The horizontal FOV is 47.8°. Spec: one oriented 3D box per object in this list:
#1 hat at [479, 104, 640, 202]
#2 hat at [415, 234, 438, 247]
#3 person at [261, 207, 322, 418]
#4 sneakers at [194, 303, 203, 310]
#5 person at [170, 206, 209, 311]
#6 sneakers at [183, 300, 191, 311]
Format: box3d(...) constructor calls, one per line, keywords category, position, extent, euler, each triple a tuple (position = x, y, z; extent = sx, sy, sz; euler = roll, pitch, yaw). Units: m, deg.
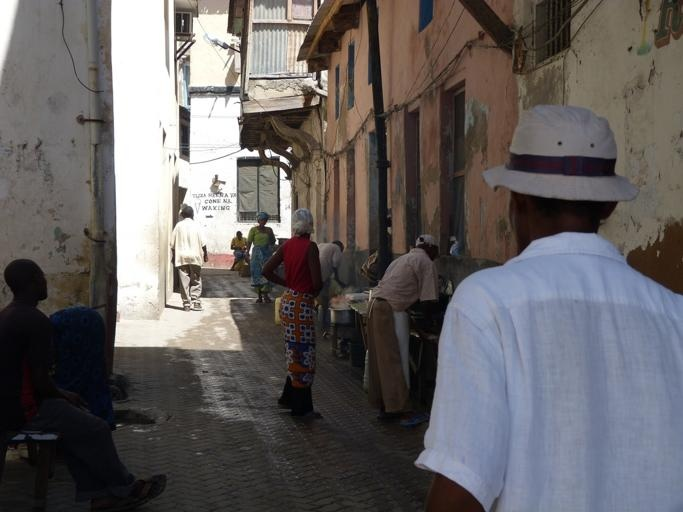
box3d(category="hat", position=(0.733, -0.357, 2.559), extent=(0.504, 0.327, 0.590), euler=(1, 8, 11))
box3d(category="hat", position=(0.865, -0.155, 7.666), extent=(0.183, 0.106, 0.130), euler=(-2, 4, -41))
box3d(category="person", position=(-0.439, 0.568, 7.532), extent=(0.661, 1.716, 0.649), euler=(-11, 4, -4))
box3d(category="sneakers", position=(-2.832, 1.014, 15.357), extent=(0.153, 0.085, 0.115), euler=(3, -1, -2))
box3d(category="person", position=(-2.973, 0.042, 15.321), extent=(0.668, 1.973, 0.830), euler=(-12, 5, -13))
box3d(category="sneakers", position=(-3.029, 1.022, 15.295), extent=(0.207, 0.262, 0.137), euler=(1, -5, -5))
